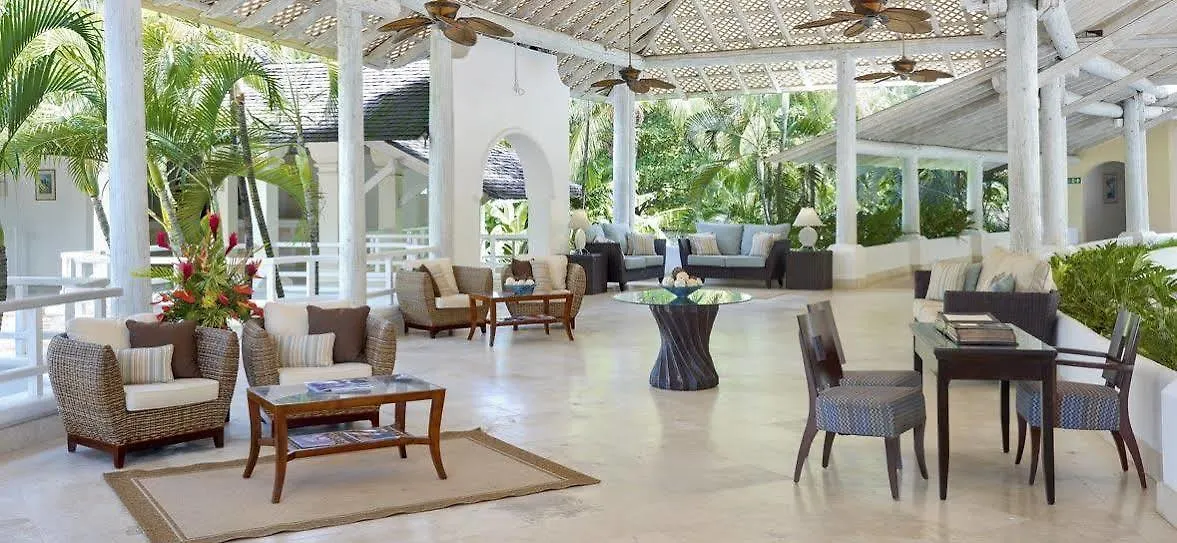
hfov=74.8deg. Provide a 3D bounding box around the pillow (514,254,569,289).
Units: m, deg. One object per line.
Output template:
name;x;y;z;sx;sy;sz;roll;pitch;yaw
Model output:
pillow;-0.743;0.013;14.126;0.822;0.640;0.287;3;-16;-10

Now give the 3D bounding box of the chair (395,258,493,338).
chair;-2.402;0.379;13.430;1.613;0.879;1.463;11;2;-20

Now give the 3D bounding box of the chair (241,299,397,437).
chair;-3.402;1.182;10.027;2.318;1.582;1.649;1;-5;-25

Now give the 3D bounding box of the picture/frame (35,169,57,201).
picture/frame;-11.701;-1.879;16.614;0.462;0.703;0.215;-4;5;-18

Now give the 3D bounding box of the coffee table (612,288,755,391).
coffee table;1.265;0.905;10.547;1.356;1.383;0.677;-3;5;-12

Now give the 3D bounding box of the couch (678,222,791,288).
couch;3.496;-0.427;18.336;2.498;1.230;1.064;5;16;35

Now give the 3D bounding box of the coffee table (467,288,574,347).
coffee table;-1.145;0.717;12.972;1.839;0.853;1.463;-3;4;-13

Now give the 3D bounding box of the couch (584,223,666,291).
couch;0.592;-0.421;18.501;1.665;1.738;3.002;0;0;36

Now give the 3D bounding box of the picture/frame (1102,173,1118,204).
picture/frame;18.312;-2.930;27.034;0.540;0.979;0.157;-4;5;-11

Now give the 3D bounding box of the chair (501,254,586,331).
chair;-0.840;0.289;13.751;1.623;1.109;1.278;-2;10;-18

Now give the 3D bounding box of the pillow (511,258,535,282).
pillow;-1.158;-0.012;13.647;0.411;0.363;0.209;9;13;-14

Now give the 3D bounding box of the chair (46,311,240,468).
chair;-5.388;1.304;9.144;1.861;1.318;1.824;5;3;36

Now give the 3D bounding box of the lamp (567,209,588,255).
lamp;-0.211;-0.924;17.640;0.397;0.971;0.848;-3;4;-1

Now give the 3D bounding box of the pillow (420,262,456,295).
pillow;-2.475;0.101;13.142;0.201;0.552;0.640;-28;1;23

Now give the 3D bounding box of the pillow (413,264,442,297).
pillow;-2.651;0.148;12.942;0.226;0.490;0.530;-27;3;10
